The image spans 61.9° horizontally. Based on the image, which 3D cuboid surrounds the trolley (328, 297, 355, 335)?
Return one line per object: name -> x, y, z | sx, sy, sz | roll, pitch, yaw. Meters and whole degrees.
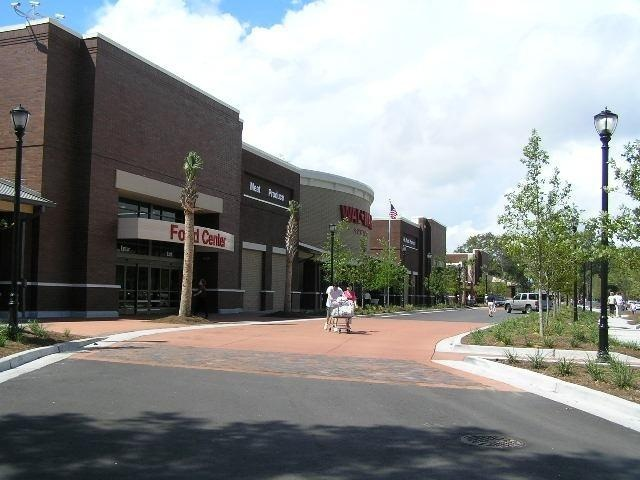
trolley -> 0.951, 3.012, 21.969 | 0.801, 1.328, 1.326 | 2, 3, 2
